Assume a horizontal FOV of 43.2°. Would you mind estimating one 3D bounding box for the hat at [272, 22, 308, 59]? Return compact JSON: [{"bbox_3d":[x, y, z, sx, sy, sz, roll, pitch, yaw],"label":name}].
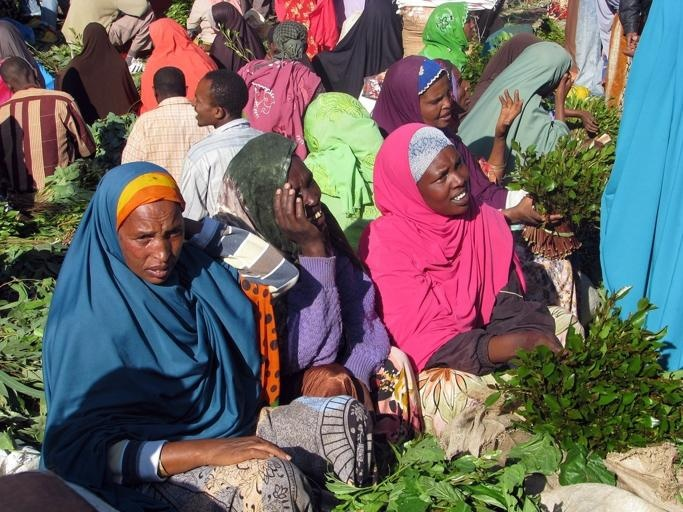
[{"bbox_3d":[-0.499,-2.108,8.413,0.387,0.433,0.409,0,11,-5],"label":"hat"}]
